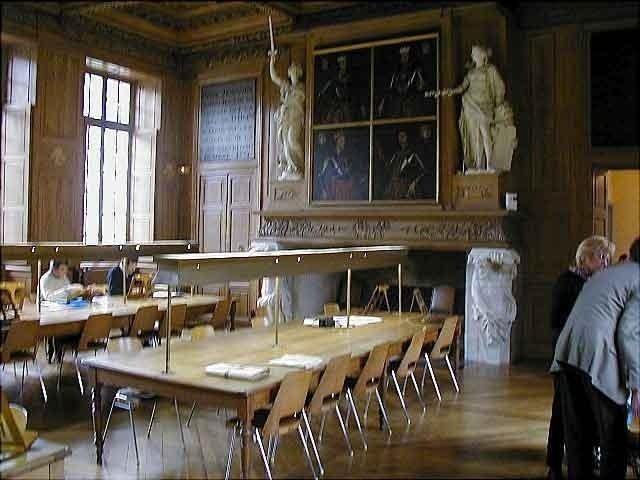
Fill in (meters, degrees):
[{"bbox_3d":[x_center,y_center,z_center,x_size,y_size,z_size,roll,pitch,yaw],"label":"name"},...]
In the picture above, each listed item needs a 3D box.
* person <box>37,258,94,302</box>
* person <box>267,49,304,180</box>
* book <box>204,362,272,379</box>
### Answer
[{"bbox_3d":[-3.791,0.595,8.839,0.849,0.753,0.490,0,-1,39],"label":"person"},{"bbox_3d":[-0.585,-2.190,11.130,0.663,2.137,0.419,1,5,5],"label":"person"},{"bbox_3d":[-0.711,1.113,5.172,0.545,0.065,0.339,2,4,15],"label":"book"}]
